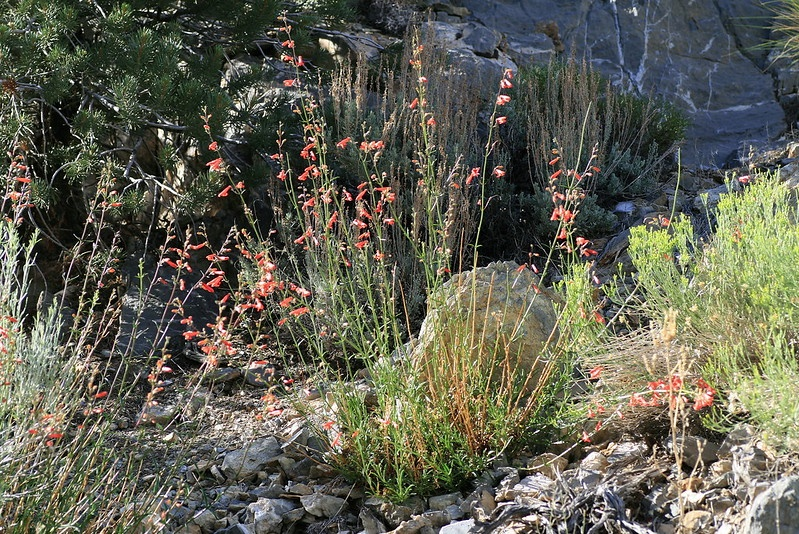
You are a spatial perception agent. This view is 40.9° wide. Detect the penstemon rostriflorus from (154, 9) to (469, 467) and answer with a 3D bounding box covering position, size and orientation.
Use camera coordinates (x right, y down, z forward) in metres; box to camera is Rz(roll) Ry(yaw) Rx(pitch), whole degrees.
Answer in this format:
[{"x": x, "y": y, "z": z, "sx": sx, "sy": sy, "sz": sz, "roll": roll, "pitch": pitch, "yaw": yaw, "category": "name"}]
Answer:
[{"x": -0.648, "y": -0.125, "z": 7.146, "sx": 1.967, "sy": 3.246, "sz": 2.008, "roll": 5, "pitch": -17, "yaw": -23, "category": "penstemon rostriflorus"}]
